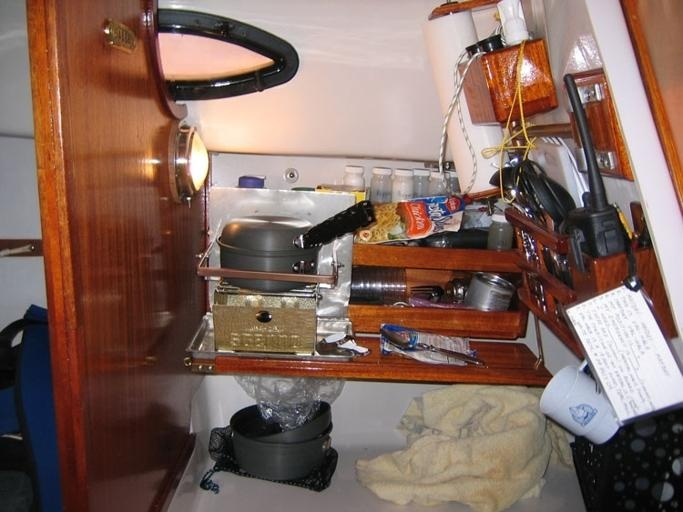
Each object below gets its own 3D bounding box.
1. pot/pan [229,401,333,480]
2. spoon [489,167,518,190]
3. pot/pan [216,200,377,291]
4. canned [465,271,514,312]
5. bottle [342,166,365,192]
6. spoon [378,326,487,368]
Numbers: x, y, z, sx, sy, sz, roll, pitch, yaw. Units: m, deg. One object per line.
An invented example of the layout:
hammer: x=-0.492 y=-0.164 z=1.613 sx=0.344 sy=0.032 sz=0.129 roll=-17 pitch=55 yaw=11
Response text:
pot/pan: x=-0.204 y=0.625 z=1.746 sx=0.344 sy=0.205 sz=0.203 roll=-4 pitch=5 yaw=-3
spoon: x=0.403 y=-0.194 z=1.318 sx=0.045 sy=0.061 sz=0.224 roll=-3 pitch=5 yaw=11
pot/pan: x=-0.112 y=-0.041 z=1.431 sx=0.381 sy=0.241 sz=0.238 roll=6 pitch=14 yaw=1
canned: x=0.469 y=0.111 z=1.645 sx=0.128 sy=0.094 sz=0.130 roll=16 pitch=11 yaw=11
bottle: x=0.040 y=-0.255 z=1.754 sx=0.079 sy=0.084 sz=0.076 roll=5 pitch=9 yaw=32
spoon: x=0.258 y=0.273 z=1.570 sx=0.216 sy=0.041 sz=0.126 roll=5 pitch=29 yaw=1
